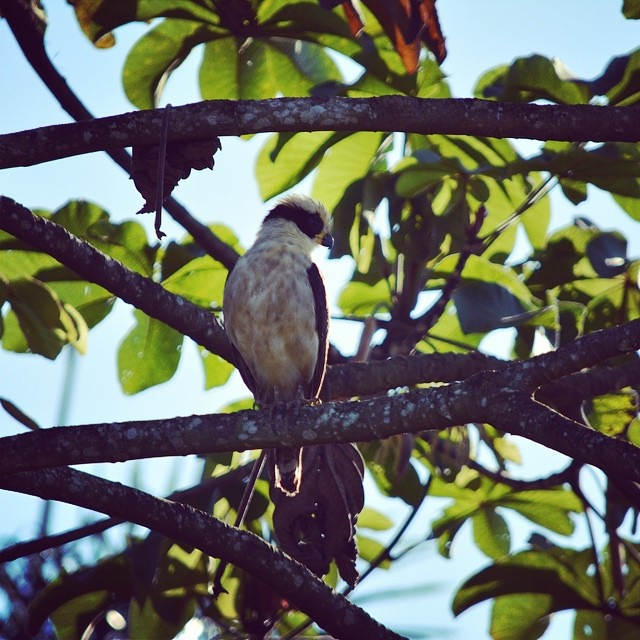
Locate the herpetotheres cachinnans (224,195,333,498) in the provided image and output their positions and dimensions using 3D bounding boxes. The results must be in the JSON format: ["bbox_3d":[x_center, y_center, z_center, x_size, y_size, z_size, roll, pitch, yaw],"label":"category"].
[{"bbox_3d":[-0.238,0.058,6.629,0.562,1.084,1.524,-4,-92,-12],"label":"herpetotheres cachinnans"}]
